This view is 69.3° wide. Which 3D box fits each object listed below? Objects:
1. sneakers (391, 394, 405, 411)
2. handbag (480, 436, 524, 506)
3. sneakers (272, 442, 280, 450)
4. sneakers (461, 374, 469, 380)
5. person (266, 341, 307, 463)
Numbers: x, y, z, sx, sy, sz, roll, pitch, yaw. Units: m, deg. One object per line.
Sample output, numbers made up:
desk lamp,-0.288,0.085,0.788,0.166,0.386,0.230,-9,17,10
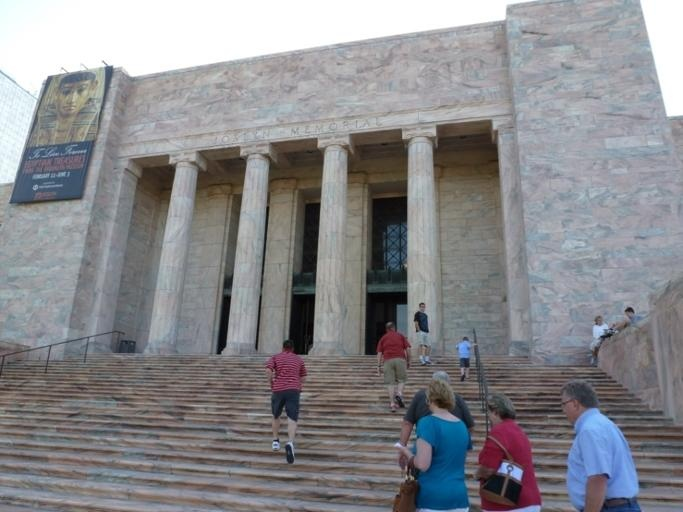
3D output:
sneakers,1.243,3.311,11.008,0.265,0.196,0.476,-2,-38,2
handbag,1.538,2.056,4.750,0.385,0.630,0.269,2,-25,-4
sneakers,-1.200,3.472,9.036,0.139,0.179,0.342,2,-20,-6
sneakers,3.337,3.322,13.498,0.191,0.145,0.404,-4,-16,8
person,-1.021,2.616,8.964,0.673,2.167,0.562,-11,-27,22
